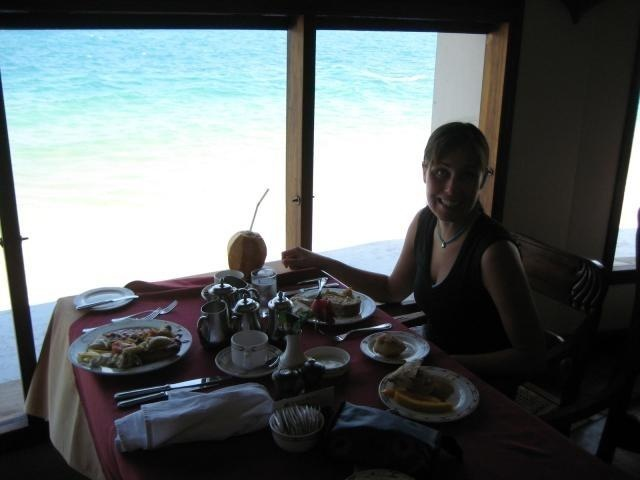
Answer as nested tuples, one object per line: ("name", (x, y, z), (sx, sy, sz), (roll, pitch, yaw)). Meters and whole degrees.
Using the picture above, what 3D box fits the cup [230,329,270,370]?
("cup", (-0.201, 0.316, 1.479), (0.114, 0.100, 0.102), (-4, 14, -24))

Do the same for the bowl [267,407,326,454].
("bowl", (-0.057, 0.449, 1.199), (0.126, 0.089, 0.139), (0, 9, -18))

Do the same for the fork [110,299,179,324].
("fork", (-0.685, 0.263, 1.778), (0.407, 0.059, 0.061), (-10, -6, 23))

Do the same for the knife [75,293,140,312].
("knife", (-0.742, 0.217, 1.757), (0.061, 0.011, 0.228), (17, 21, 35))

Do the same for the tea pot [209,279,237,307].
("tea pot", (-0.311, 0.169, 1.618), (0.064, 0.062, 0.087), (-5, 24, -18))

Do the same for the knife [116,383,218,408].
("knife", (-0.403, 0.412, 1.356), (0.281, 0.026, 0.066), (-7, 18, -23))

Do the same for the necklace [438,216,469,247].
("necklace", (0.478, -0.028, 1.783), (0.030, 0.082, 0.074), (31, 34, -5))

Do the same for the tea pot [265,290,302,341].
("tea pot", (-0.114, 0.238, 1.522), (0.102, 0.156, 0.108), (0, 20, 0))

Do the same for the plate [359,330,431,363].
("plate", (0.228, 0.325, 1.520), (0.212, 0.023, 0.217), (11, 12, 39))

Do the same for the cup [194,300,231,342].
("cup", (-0.328, 0.274, 1.516), (0.092, 0.127, 0.138), (2, 8, 11))

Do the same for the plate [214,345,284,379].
("plate", (-0.207, 0.365, 1.433), (0.195, 0.058, 0.188), (-1, 12, -18))

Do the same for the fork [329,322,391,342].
("fork", (0.125, 0.299, 1.608), (0.193, 0.028, 0.027), (-8, 27, -19))

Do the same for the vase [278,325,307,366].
("vase", (-0.077, 0.312, 1.423), (0.078, 0.129, 0.085), (-2, 9, -18))

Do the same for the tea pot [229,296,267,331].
("tea pot", (-0.222, 0.231, 1.573), (0.106, 0.114, 0.071), (5, 13, 35))

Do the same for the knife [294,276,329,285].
("knife", (-0.034, 0.161, 1.960), (0.101, 0.016, 0.014), (-7, 52, 6))
